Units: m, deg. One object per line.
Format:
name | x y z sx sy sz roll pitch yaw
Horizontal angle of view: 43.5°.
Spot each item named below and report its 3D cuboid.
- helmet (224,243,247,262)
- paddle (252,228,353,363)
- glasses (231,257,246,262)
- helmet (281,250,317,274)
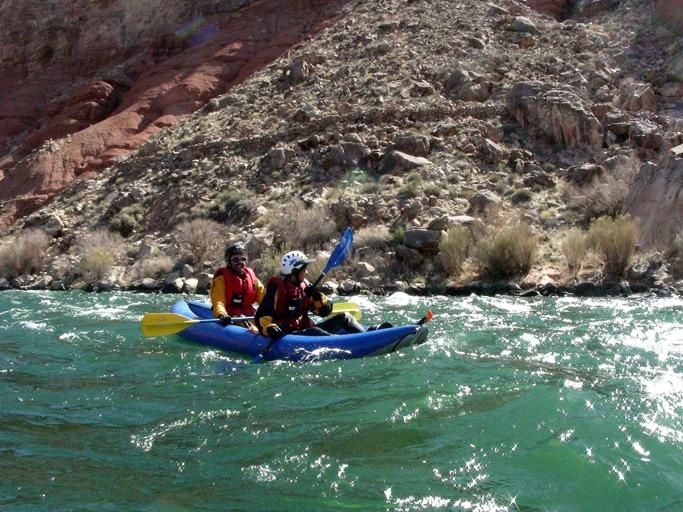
helmet | -2.527 -0.074 20.650 0.371 0.411 0.464 15 -40 -31
paddle | -0.868 1.032 20.756 0.470 4.153 0.297 41 -14 3
glasses | -2.363 0.066 19.960 0.180 0.052 0.179 2 -14 -39
helmet | -0.984 0.136 19.511 0.708 0.375 0.451 -9 4 -7
